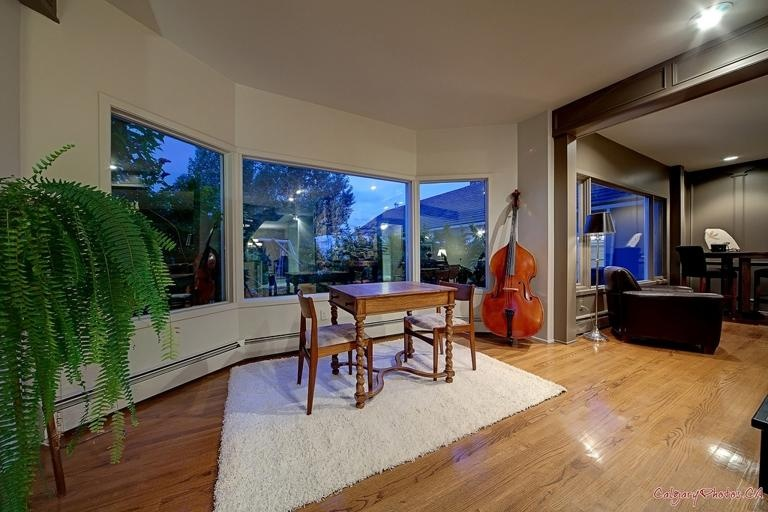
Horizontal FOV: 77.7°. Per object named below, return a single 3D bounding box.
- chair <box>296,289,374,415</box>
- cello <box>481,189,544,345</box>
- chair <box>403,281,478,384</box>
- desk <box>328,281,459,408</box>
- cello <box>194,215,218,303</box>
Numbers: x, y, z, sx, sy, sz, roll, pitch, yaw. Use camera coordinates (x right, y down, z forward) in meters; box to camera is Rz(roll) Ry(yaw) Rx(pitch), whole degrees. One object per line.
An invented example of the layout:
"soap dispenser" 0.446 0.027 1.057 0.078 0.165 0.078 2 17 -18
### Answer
"chair" -0.550 0.903 4.970 0.740 1.078 0.652 -6 11 -27
"cello" 1.615 0.222 6.047 0.684 1.422 0.867 2 14 8
"chair" 0.620 0.790 5.467 0.618 0.949 0.744 -4 7 -32
"desk" 0.030 0.923 5.371 1.314 1.259 1.149 1 -4 -28
"cello" -1.978 0.147 5.393 0.261 0.682 0.168 3 1 8
